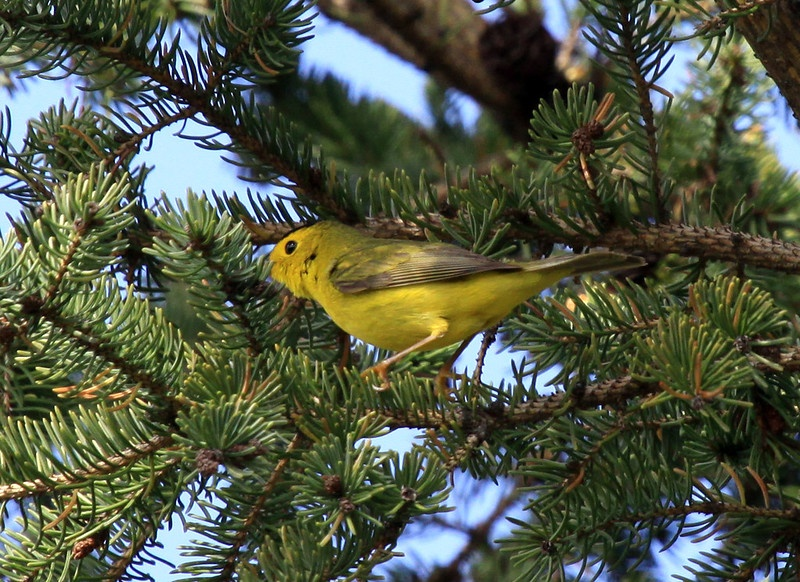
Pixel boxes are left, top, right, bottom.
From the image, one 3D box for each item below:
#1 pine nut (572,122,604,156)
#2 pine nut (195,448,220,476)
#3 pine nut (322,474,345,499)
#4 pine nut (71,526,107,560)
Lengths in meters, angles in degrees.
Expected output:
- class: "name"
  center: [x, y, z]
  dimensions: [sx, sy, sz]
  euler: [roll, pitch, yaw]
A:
- class: "pine nut"
  center: [1.030, -0.853, 6.900]
  dimensions: [0.126, 0.100, 0.188]
  euler: [12, 36, 15]
- class: "pine nut"
  center: [-0.984, 0.879, 6.417]
  dimensions: [0.104, 0.136, 0.112]
  euler: [-21, -22, 5]
- class: "pine nut"
  center: [-0.343, 1.018, 6.414]
  dimensions: [0.101, 0.118, 0.069]
  euler: [-43, 23, 13]
- class: "pine nut"
  center: [-1.609, 1.323, 6.540]
  dimensions: [0.202, 0.120, 0.073]
  euler: [-35, 48, -17]
